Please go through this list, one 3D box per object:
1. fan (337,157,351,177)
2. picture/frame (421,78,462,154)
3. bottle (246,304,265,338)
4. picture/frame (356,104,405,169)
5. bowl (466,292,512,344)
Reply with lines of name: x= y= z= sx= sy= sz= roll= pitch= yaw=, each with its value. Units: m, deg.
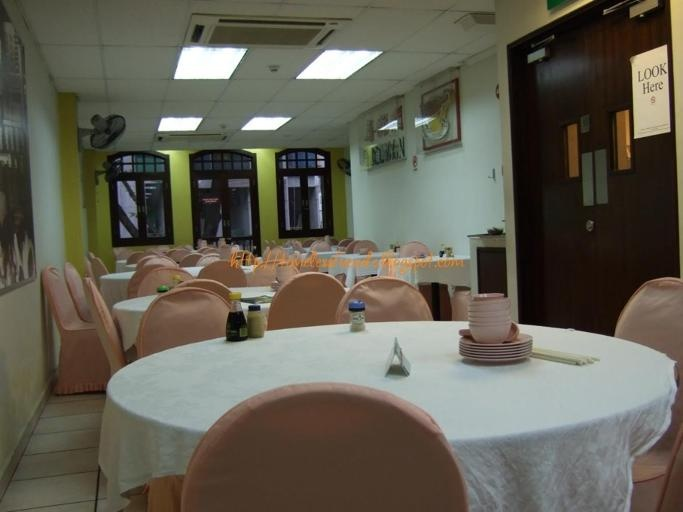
fan: x=0.117 y=-2.219 z=12.522 sx=0.493 sy=0.527 sz=0.333 roll=-6 pitch=9 yaw=-44
picture/frame: x=1.415 y=-1.966 z=7.084 sx=0.078 sy=1.130 sz=0.939 roll=2 pitch=-6 yaw=-26
bottle: x=-0.345 y=0.256 z=2.041 sx=0.066 sy=0.132 sz=0.077 roll=1 pitch=13 yaw=6
picture/frame: x=0.718 y=-2.064 z=8.682 sx=0.116 sy=1.004 sz=1.385 roll=-4 pitch=5 yaw=-21
bowl: x=0.462 y=0.198 z=1.592 sx=0.112 sy=0.159 sz=0.152 roll=-2 pitch=-3 yaw=5
